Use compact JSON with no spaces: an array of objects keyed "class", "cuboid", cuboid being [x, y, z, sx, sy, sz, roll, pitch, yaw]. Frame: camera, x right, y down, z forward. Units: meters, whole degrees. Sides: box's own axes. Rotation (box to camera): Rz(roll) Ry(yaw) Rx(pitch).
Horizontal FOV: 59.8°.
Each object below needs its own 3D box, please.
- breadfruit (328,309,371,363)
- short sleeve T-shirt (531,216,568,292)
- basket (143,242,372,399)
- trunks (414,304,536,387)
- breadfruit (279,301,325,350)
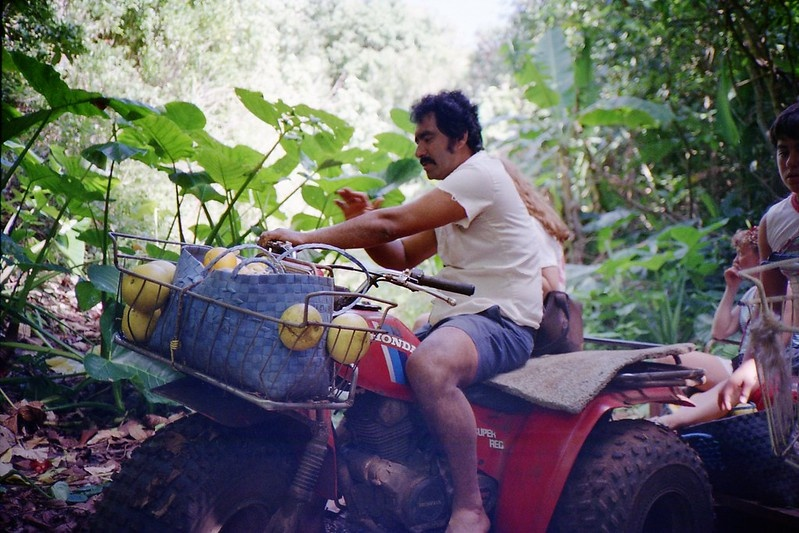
[{"class":"breadfruit","cuboid":[-0.296,0.368,3.781,0.252,0.308,0.247,3,2,2]},{"class":"short sleeve T-shirt","cuboid":[1.028,-0.092,4.797,0.160,0.169,0.493,-21,13,15]},{"class":"basket","cuboid":[-0.731,0.321,3.838,1.212,0.831,0.669,13,-14,20]},{"class":"trunks","cuboid":[0.560,0.450,4.299,0.507,0.229,0.503,-13,12,-23]},{"class":"breadfruit","cuboid":[-0.502,0.312,3.573,0.225,0.241,0.100,6,-6,-8]}]
